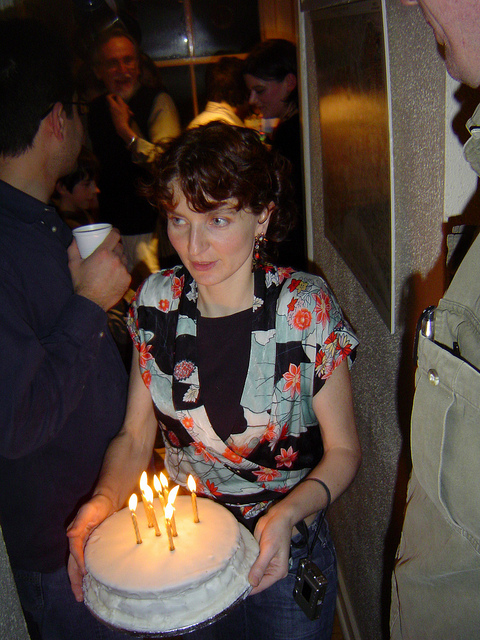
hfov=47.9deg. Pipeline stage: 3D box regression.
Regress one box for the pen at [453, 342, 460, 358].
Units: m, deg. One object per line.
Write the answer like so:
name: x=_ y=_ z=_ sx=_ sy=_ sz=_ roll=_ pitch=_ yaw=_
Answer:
pen: x=0.273 y=0.039 z=0.689 sx=0.005 sy=0.022 sz=0.012 roll=3 pitch=6 yaw=30

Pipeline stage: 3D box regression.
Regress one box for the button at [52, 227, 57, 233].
button: x=-0.495 y=-0.242 z=1.448 sx=0.006 sy=0.016 sz=0.019 roll=2 pitch=31 yaw=16

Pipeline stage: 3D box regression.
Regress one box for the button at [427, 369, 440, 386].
button: x=0.254 y=0.076 z=0.707 sx=0.003 sy=0.018 sz=0.015 roll=1 pitch=-10 yaw=-13

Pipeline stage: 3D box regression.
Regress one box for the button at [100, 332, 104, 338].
button: x=-0.344 y=0.038 z=1.349 sx=0.011 sy=0.021 sz=0.006 roll=-1 pitch=1 yaw=-4

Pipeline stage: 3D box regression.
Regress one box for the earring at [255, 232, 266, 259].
earring: x=0.049 y=-0.186 z=1.351 sx=0.008 sy=0.053 sz=0.044 roll=14 pitch=35 yaw=36

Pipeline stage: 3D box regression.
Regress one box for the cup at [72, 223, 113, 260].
cup: x=-0.378 y=-0.219 z=1.415 sx=0.085 sy=0.083 sz=0.087 roll=-9 pitch=28 yaw=5
